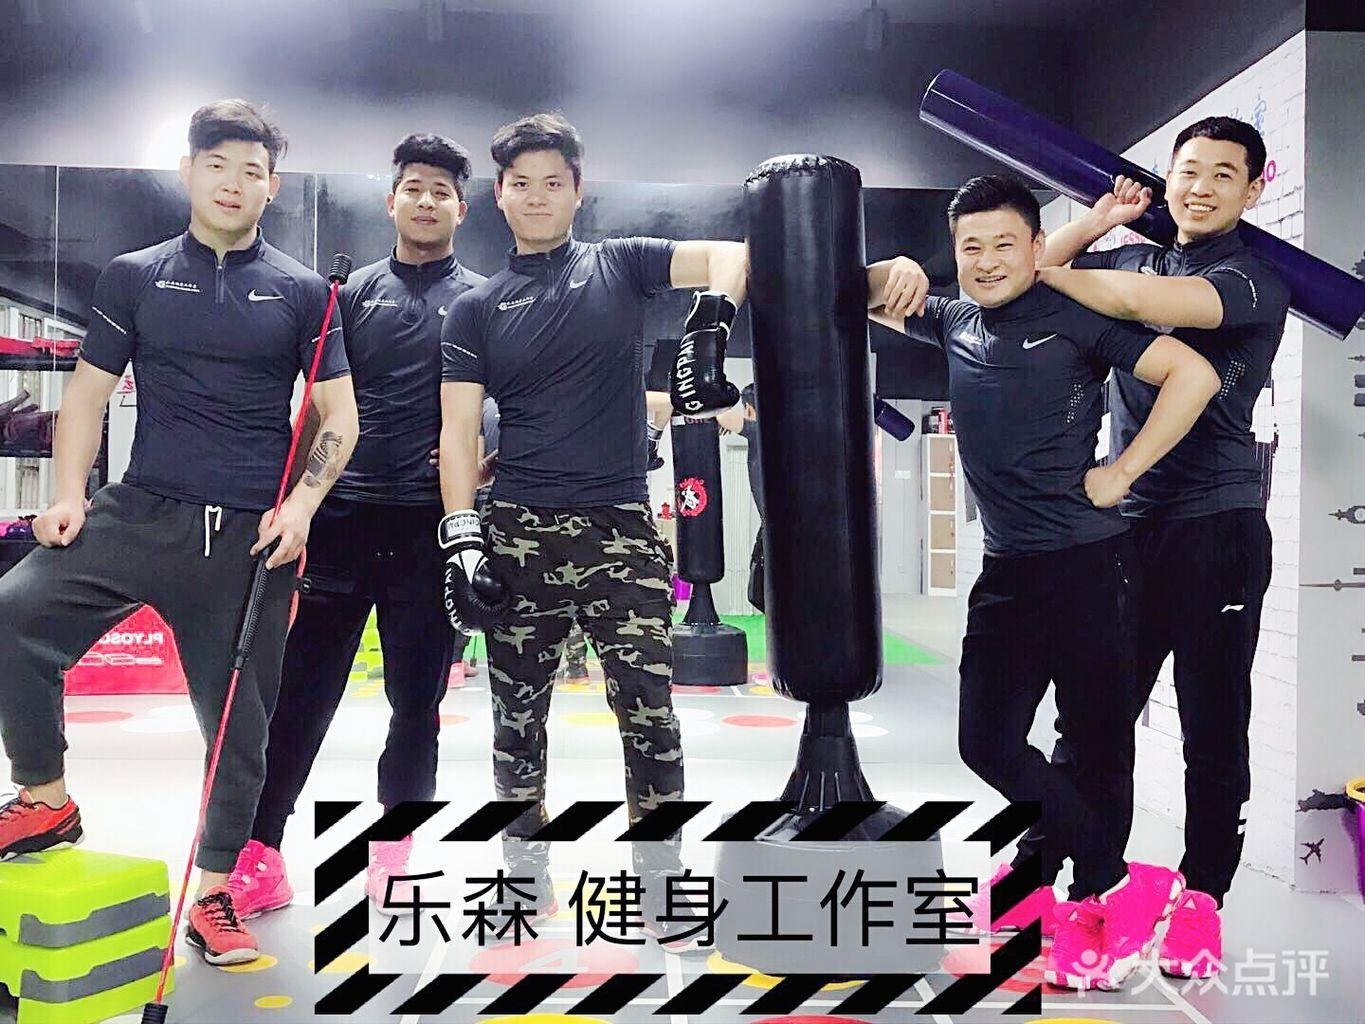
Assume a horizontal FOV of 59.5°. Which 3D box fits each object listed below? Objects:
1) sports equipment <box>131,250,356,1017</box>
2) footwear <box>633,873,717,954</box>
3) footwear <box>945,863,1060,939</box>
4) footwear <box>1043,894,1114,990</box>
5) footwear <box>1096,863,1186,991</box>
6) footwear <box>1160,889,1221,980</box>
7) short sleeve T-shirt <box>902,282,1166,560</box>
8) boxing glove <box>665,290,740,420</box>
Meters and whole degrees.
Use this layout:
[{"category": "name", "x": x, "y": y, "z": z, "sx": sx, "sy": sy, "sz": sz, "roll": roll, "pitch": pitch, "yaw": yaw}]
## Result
[{"category": "sports equipment", "x": -1.083, "y": 0.272, "z": 2.979, "sx": 0.081, "sy": 1.901, "sz": 0.064, "roll": 14, "pitch": 2, "yaw": 26}, {"category": "footwear", "x": -0.012, "y": 0.955, "z": 2.895, "sx": 0.130, "sy": 0.205, "sz": 0.203, "roll": -2, "pitch": 4, "yaw": -30}, {"category": "footwear", "x": 0.757, "y": 0.974, "z": 2.990, "sx": 0.369, "sy": 0.159, "sz": 0.126, "roll": -12, "pitch": 5, "yaw": 25}, {"category": "footwear", "x": 0.941, "y": 1.001, "z": 2.842, "sx": 0.108, "sy": 0.248, "sz": 0.087, "roll": 39, "pitch": -34, "yaw": -22}, {"category": "footwear", "x": 1.064, "y": 0.973, "z": 2.865, "sx": 0.127, "sy": 0.299, "sz": 0.159, "roll": 26, "pitch": -22, "yaw": 15}, {"category": "footwear", "x": 1.216, "y": 1.007, "z": 2.837, "sx": 0.105, "sy": 0.204, "sz": 0.073, "roll": 0, "pitch": -21, "yaw": 21}, {"category": "short sleeve T-shirt", "x": 0.894, "y": -0.240, "z": 2.963, "sx": 0.721, "sy": 0.601, "sz": 0.271, "roll": -14, "pitch": 8, "yaw": 45}, {"category": "boxing glove", "x": 0.056, "y": -0.365, "z": 2.825, "sx": 0.179, "sy": 0.272, "sz": 0.105, "roll": 2, "pitch": -11, "yaw": 21}]
